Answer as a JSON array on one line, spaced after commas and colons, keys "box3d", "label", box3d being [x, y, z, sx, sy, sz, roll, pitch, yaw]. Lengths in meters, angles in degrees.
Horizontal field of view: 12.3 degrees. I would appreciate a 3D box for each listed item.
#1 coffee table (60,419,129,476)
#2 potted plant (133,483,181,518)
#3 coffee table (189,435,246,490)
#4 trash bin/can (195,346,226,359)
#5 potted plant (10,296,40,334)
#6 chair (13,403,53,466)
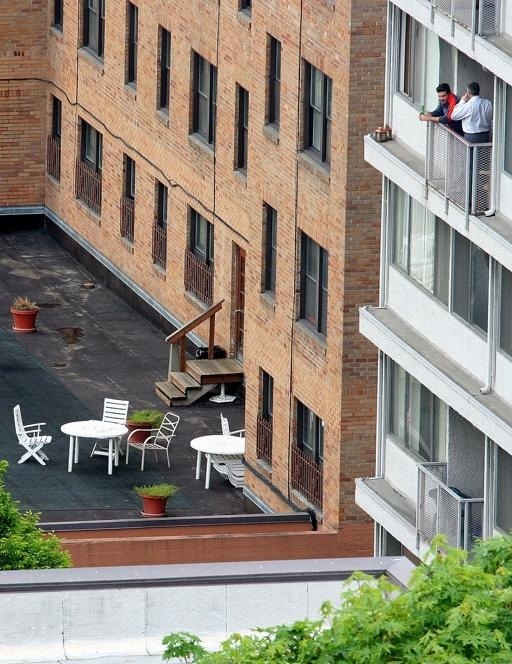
[{"box3d": [-2.591, 1.757, 38.747, 0.826, 1.028, 0.843, 6, 13, 39], "label": "coffee table"}, {"box3d": [-1.537, 2.580, 36.540, 0.457, 0.450, 0.479, 0, 5, -7], "label": "potted plant"}, {"box3d": [-0.627, 2.080, 38.347, 0.842, 0.894, 2.019, 1, -10, -2], "label": "coffee table"}, {"box3d": [-0.798, 0.379, 42.566, 0.325, 0.181, 0.262, -5, 11, -27], "label": "trash bin/can"}, {"box3d": [-4.463, -0.315, 46.126, 0.545, 0.773, 0.544, -8, 15, -36], "label": "potted plant"}, {"box3d": [-3.690, 1.767, 39.537, 0.646, 1.057, 1.880, 1, -10, -6], "label": "chair"}]
